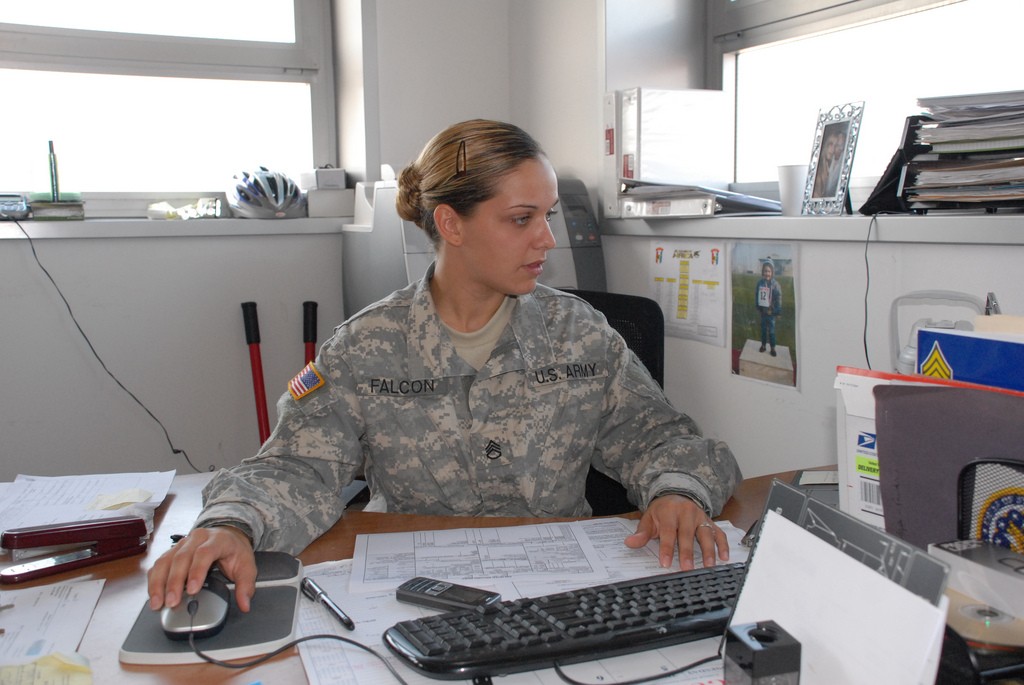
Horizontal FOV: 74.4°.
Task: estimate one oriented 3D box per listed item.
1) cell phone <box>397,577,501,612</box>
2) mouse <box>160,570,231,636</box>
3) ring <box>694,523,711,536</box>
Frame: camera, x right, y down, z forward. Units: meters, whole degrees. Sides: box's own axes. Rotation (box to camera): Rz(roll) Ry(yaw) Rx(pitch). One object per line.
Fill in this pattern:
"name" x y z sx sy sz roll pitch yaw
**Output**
"cell phone" -0.095 0.353 1.001 0.118 0.033 0.055 6 8 14
"mouse" -0.460 0.370 0.972 0.087 0.041 0.145 1 7 -24
"ring" 0.331 0.322 1.172 0.017 0.009 0.021 -6 15 19
